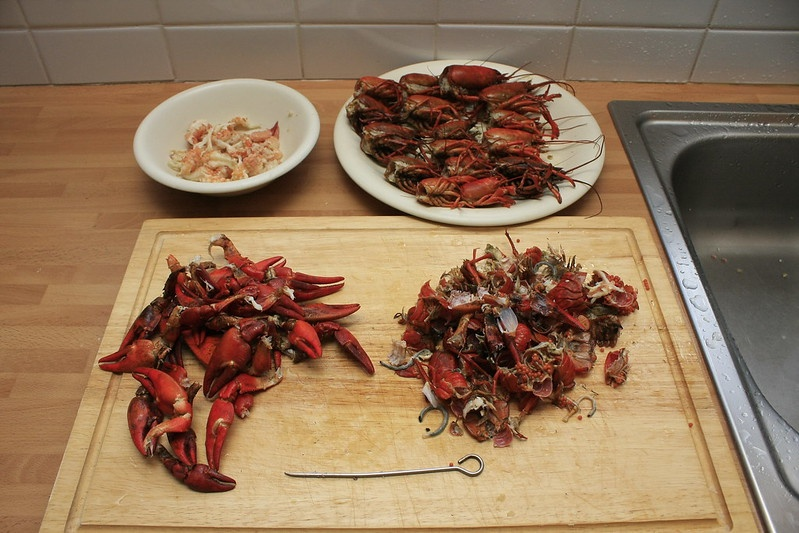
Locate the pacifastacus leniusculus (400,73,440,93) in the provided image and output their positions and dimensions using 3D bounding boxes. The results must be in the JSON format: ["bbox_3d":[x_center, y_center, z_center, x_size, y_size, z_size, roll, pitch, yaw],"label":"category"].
[{"bbox_3d":[0.053,-0.489,1.835,0.095,0.031,0.054,4,48,1],"label":"pacifastacus leniusculus"}]

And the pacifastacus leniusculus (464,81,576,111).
[{"bbox_3d":[0.332,-0.464,1.813,0.218,0.037,0.099,-6,28,-6],"label":"pacifastacus leniusculus"}]

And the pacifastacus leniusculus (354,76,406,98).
[{"bbox_3d":[-0.056,-0.471,1.805,0.109,0.031,0.057,2,33,-5],"label":"pacifastacus leniusculus"}]

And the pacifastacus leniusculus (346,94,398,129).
[{"bbox_3d":[-0.068,-0.404,1.788,0.135,0.050,0.071,5,66,-7],"label":"pacifastacus leniusculus"}]
